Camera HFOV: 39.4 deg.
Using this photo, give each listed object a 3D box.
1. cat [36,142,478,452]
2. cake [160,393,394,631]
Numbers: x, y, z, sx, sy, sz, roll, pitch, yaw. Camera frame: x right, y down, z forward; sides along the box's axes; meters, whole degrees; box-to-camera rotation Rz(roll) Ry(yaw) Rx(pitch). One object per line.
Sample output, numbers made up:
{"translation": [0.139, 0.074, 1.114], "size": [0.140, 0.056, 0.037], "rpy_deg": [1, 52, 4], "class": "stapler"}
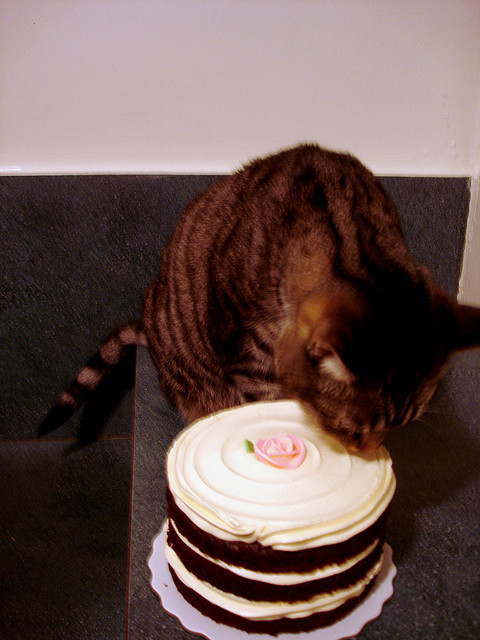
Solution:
{"translation": [0.046, -0.035, 1.444], "size": [0.888, 0.409, 0.509], "rpy_deg": [16, 49, 34], "class": "cat"}
{"translation": [0.053, 0.322, 1.126], "size": [0.380, 0.233, 0.376], "rpy_deg": [-11, 20, -21], "class": "cake"}
